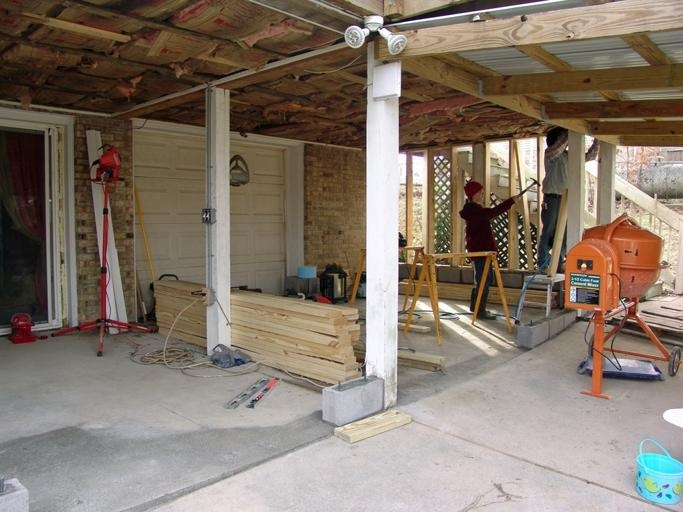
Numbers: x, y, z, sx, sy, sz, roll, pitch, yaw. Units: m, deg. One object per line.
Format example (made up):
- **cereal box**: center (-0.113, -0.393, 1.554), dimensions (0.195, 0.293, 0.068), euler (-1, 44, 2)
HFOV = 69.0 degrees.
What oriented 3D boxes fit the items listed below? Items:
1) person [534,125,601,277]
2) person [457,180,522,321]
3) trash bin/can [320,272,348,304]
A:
- **person**: center (3.556, -0.882, 7.918), dimensions (0.667, 2.299, 1.031), euler (1, 12, 7)
- **person**: center (2.118, -0.074, 7.382), dimensions (0.710, 2.069, 1.290), euler (2, 11, 8)
- **trash bin/can**: center (0.032, 0.547, 9.090), dimensions (0.674, 0.520, 0.560), euler (-1, 1, 8)
